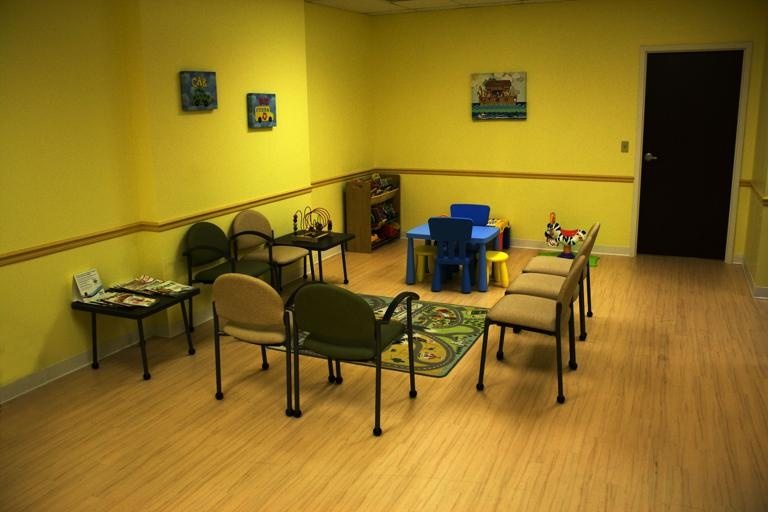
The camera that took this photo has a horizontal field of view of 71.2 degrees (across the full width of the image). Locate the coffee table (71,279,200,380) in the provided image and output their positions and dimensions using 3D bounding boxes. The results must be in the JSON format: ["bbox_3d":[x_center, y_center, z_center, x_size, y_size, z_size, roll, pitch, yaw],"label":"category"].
[{"bbox_3d":[-2.337,0.568,5.165,0.878,0.677,0.931,5,11,19],"label":"coffee table"}]

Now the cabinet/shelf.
[{"bbox_3d":[-0.196,-0.677,8.374,0.438,1.077,1.132,3,14,17],"label":"cabinet/shelf"}]

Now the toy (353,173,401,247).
[{"bbox_3d":[-0.132,-0.740,8.448,0.414,1.000,1.053,3,14,17],"label":"toy"}]

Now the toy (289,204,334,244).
[{"bbox_3d":[-0.915,-0.463,6.999,0.271,0.373,0.900,4,12,13],"label":"toy"}]
